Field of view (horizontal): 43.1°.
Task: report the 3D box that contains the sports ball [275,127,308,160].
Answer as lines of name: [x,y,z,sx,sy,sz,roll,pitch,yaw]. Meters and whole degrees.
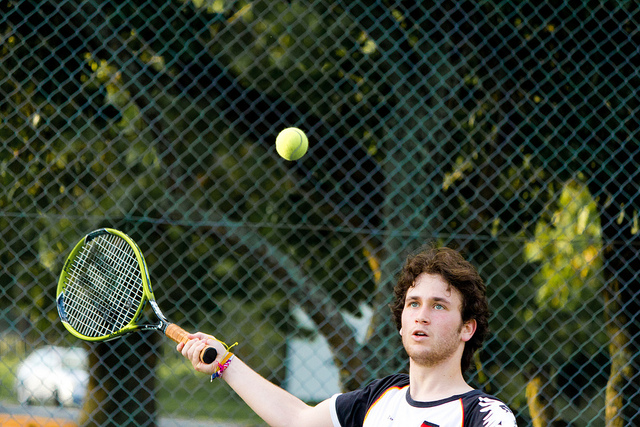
sports ball: [-0.223,-0.558,6.519,0.214,0.234,0.251,-19,-38,-24]

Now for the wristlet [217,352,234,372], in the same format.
wristlet: [-0.641,0.990,5.477,0.024,0.101,0.097,28,10,10]
